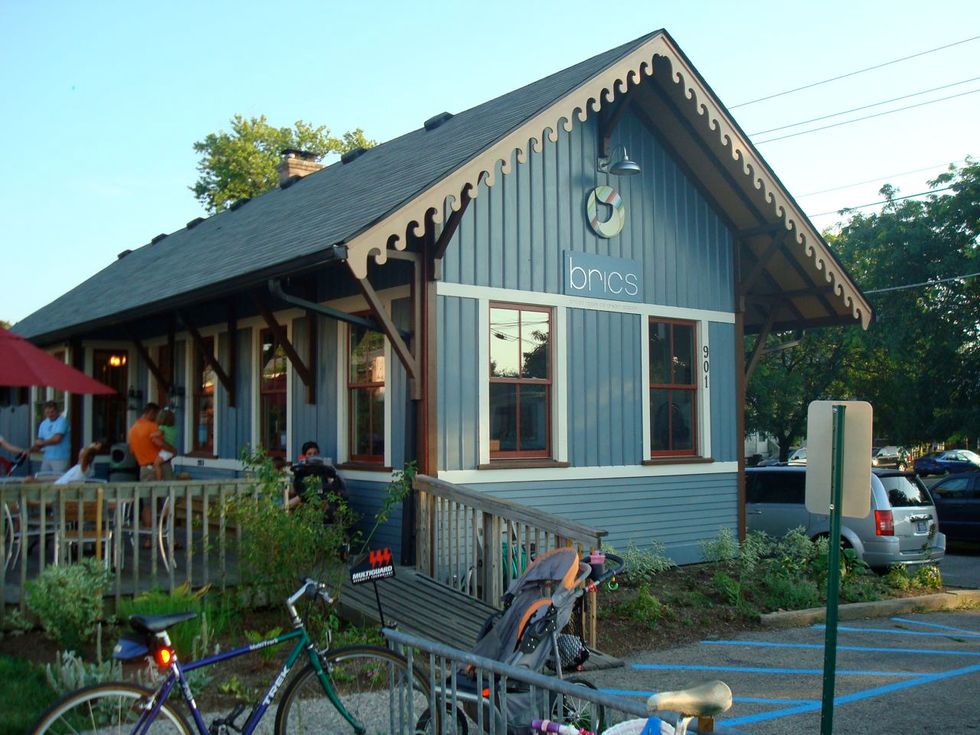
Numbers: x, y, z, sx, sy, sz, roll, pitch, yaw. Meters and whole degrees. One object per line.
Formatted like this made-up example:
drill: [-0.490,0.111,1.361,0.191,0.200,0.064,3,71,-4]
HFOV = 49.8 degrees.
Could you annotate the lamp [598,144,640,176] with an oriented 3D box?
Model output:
lamp: [1.971,-3.094,16.002,0.372,0.479,0.666,6,-11,-28]
